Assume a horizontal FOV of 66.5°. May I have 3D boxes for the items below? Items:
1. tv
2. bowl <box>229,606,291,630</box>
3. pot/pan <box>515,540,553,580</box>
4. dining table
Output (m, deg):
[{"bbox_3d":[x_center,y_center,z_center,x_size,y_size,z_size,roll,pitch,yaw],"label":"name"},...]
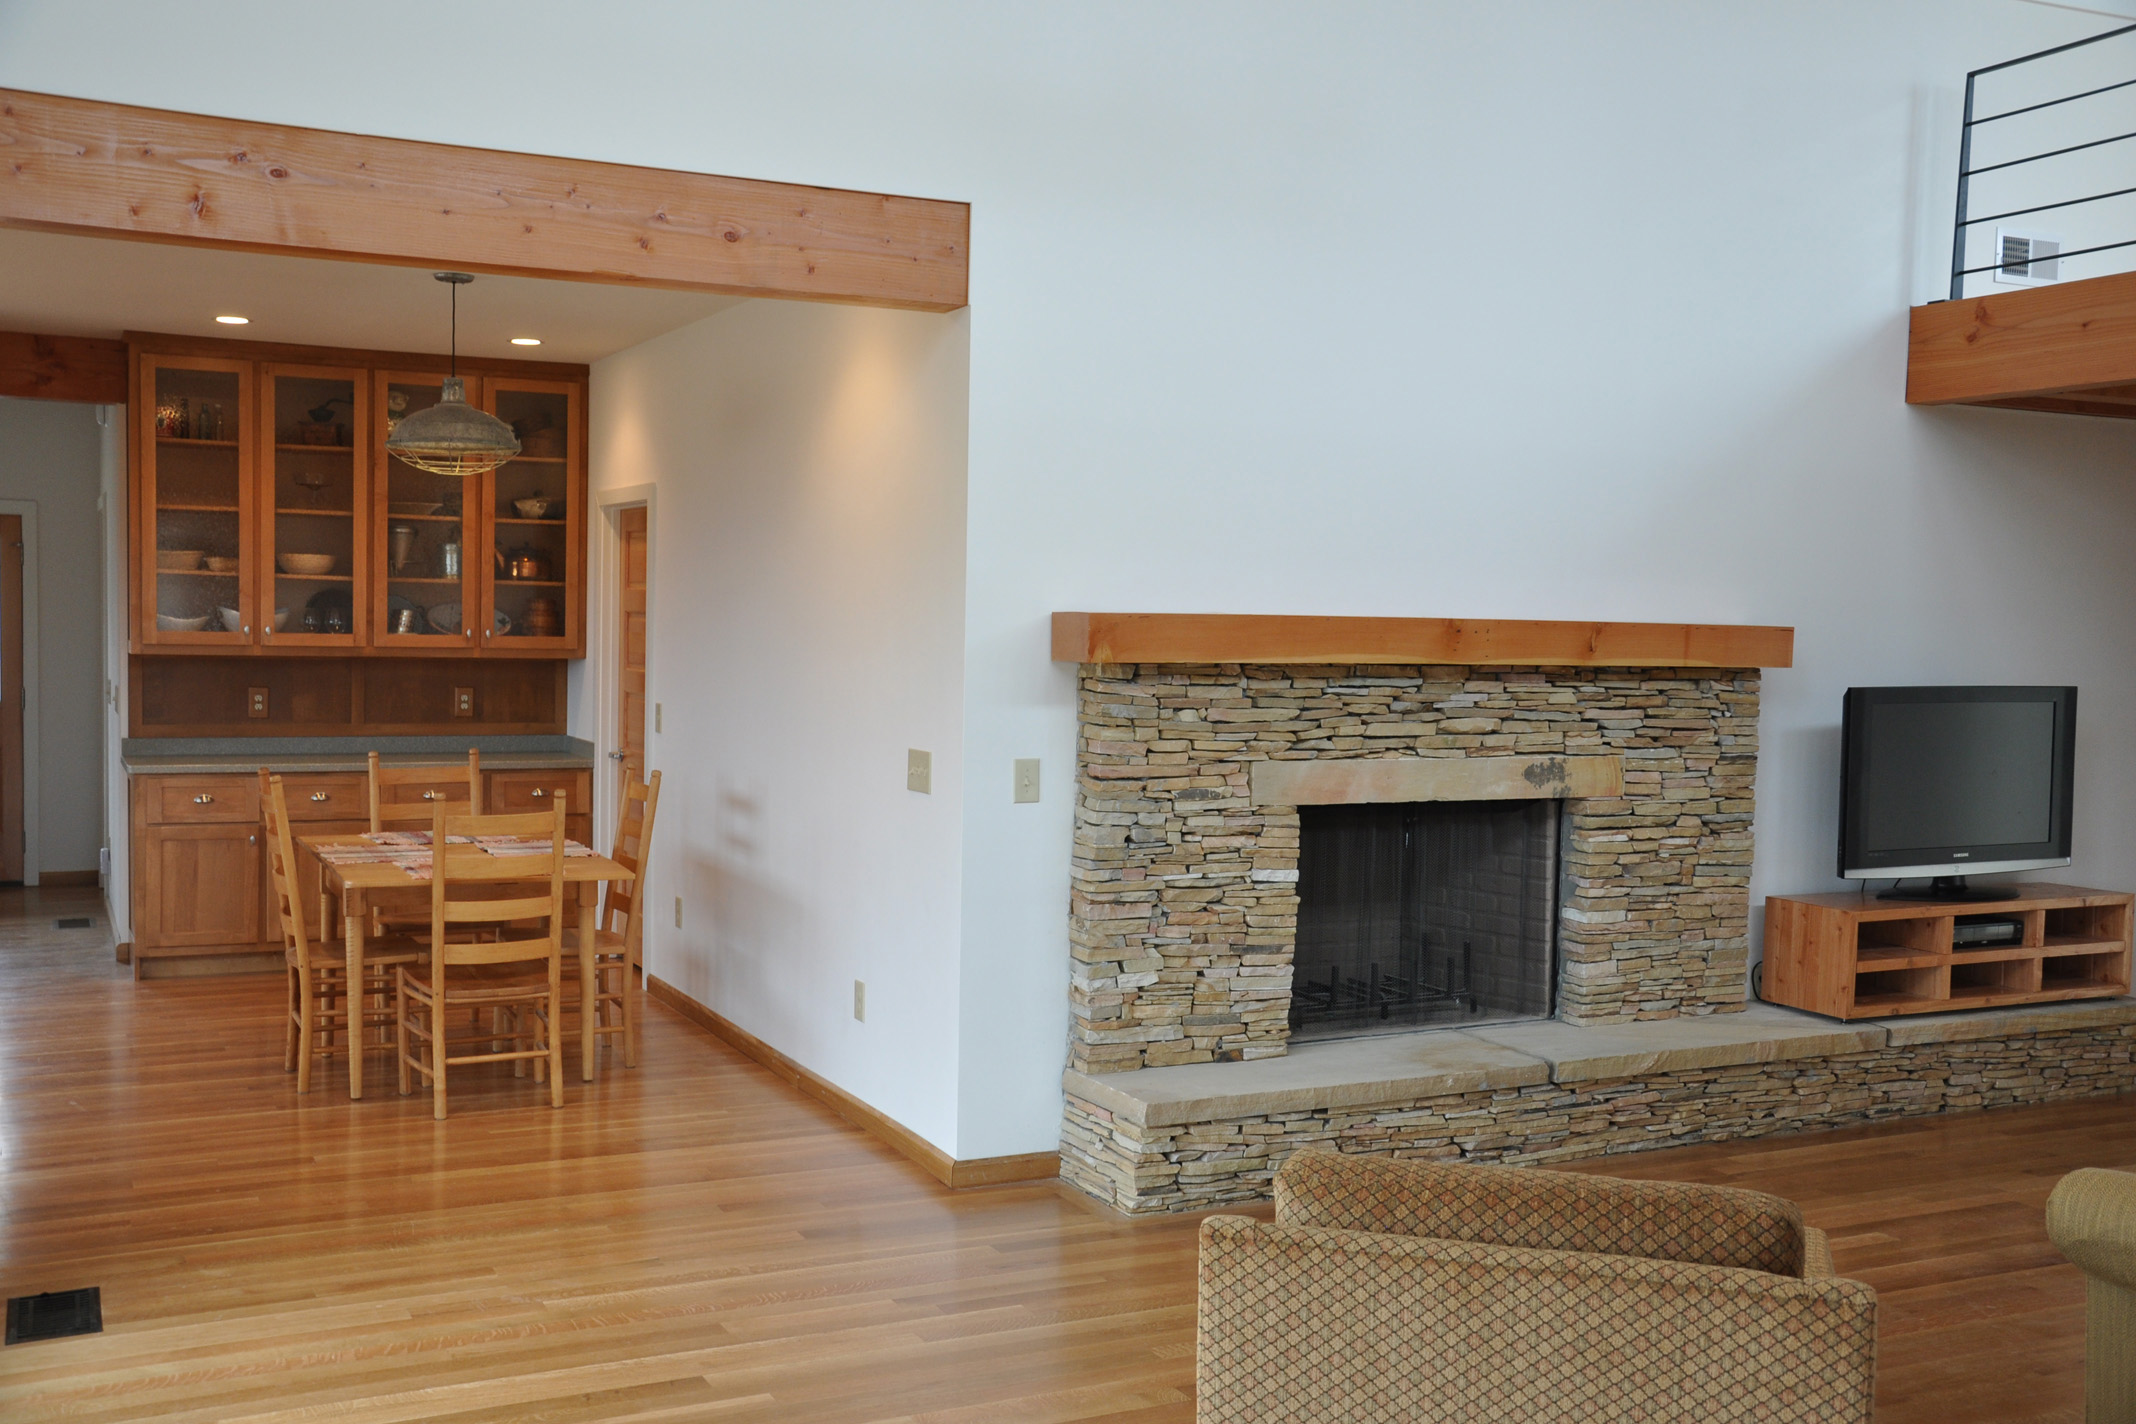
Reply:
[{"bbox_3d":[3.741,0.314,6.913,1.159,0.672,0.275,0,1,-16],"label":"tv"},{"bbox_3d":[-4.317,-0.484,8.647,0.256,0.112,0.062,-3,11,-25],"label":"bowl"},{"bbox_3d":[-3.005,-0.843,9.192,0.210,0.165,0.187,1,0,-13],"label":"pot/pan"},{"bbox_3d":[-2.470,1.063,7.073,1.342,0.842,1.307,1,-1,-18],"label":"dining table"}]
